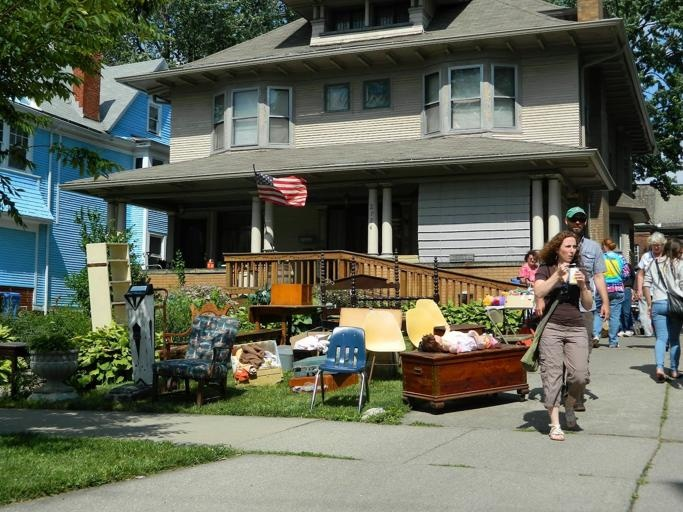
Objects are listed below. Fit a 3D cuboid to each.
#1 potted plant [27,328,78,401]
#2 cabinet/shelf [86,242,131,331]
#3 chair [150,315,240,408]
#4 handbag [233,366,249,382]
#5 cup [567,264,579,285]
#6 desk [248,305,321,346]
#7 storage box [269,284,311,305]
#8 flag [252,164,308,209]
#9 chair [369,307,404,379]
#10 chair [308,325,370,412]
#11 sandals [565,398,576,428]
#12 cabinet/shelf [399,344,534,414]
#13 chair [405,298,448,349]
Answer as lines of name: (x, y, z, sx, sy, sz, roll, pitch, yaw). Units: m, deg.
potted plant: (-4.780, 1.872, 11.711, 1.010, 1.276, 0.981, 0, -5, -1)
cabinet/shelf: (-5.023, 0.603, 14.899, 0.779, 1.814, 2.154, -1, -1, -14)
chair: (-2.400, 1.662, 11.302, 1.273, 1.518, 1.370, -1, -4, 27)
handbag: (-1.757, 2.086, 12.188, 0.234, 0.221, 0.097, 4, 11, -3)
cup: (2.717, 0.232, 8.099, 0.105, 0.142, 0.135, -2, -1, 32)
desk: (-1.402, 1.514, 15.644, 1.395, 0.856, 1.590, -1, -1, -21)
storage box: (-1.122, 0.871, 15.407, 0.600, 0.343, 0.589, -1, -2, 8)
flag: (-1.679, -1.774, 18.740, 1.428, 0.773, 0.651, -1, -1, -26)
chair: (0.684, 1.445, 11.047, 0.709, 0.974, 0.815, 1, 6, 8)
chair: (-0.004, 1.639, 9.920, 0.791, 1.070, 0.867, 3, -1, 1)
sandals: (2.876, 1.959, 8.568, 0.147, 0.417, 0.171, -2, 6, 22)
cabinet/shelf: (1.785, 1.735, 10.059, 1.712, 0.764, 0.649, -1, -1, -22)
chair: (1.438, 1.127, 11.984, 0.769, 0.972, 0.772, -1, -5, -22)
